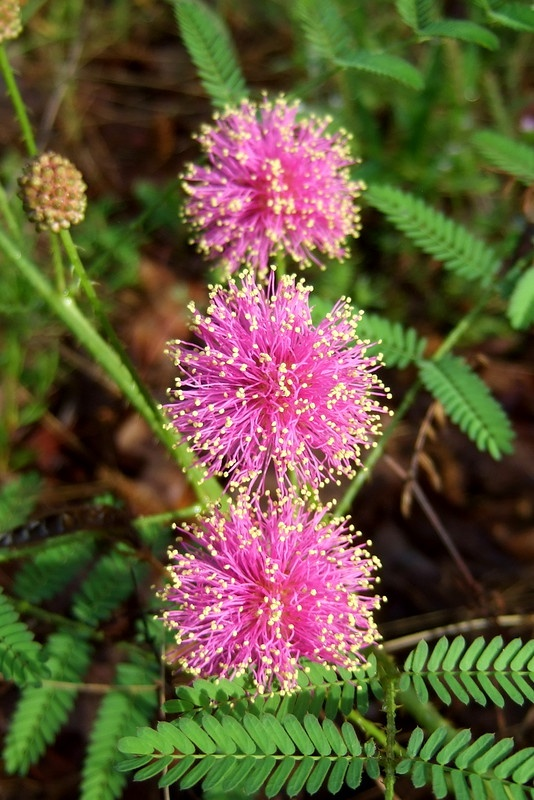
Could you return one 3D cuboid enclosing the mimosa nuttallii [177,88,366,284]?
[{"bbox_3d":[0.018,-0.769,2.738,0.657,0.544,0.645,-13,71,-5],"label":"mimosa nuttallii"}]

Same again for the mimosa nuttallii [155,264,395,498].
[{"bbox_3d":[-0.030,-0.025,2.653,0.733,0.423,0.778,30,92,-12],"label":"mimosa nuttallii"}]

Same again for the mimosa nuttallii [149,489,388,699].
[{"bbox_3d":[0.034,0.637,2.579,0.778,0.871,0.488,15,76,12],"label":"mimosa nuttallii"}]
